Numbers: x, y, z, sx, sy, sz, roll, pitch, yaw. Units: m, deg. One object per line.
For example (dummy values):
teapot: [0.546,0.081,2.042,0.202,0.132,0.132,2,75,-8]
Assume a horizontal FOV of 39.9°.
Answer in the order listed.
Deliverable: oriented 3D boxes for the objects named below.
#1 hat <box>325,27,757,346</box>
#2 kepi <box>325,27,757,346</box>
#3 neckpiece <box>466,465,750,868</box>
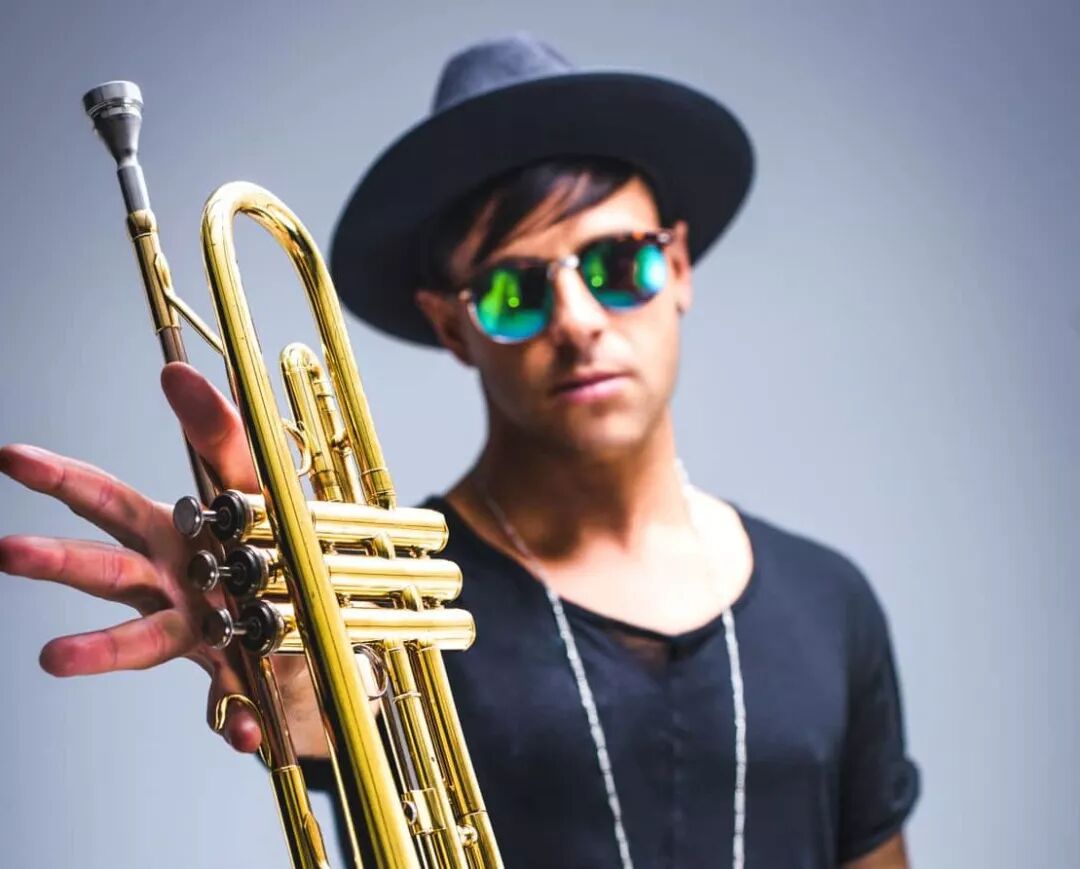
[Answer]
hat: [-0.021,-0.353,2.055,0.447,0.208,0.437,-26,-35,7]
kepi: [-0.021,-0.356,2.053,0.447,0.208,0.437,-26,-35,7]
neckpiece: [0.108,0.383,1.949,0.166,0.772,0.030,-9,-9,-13]
